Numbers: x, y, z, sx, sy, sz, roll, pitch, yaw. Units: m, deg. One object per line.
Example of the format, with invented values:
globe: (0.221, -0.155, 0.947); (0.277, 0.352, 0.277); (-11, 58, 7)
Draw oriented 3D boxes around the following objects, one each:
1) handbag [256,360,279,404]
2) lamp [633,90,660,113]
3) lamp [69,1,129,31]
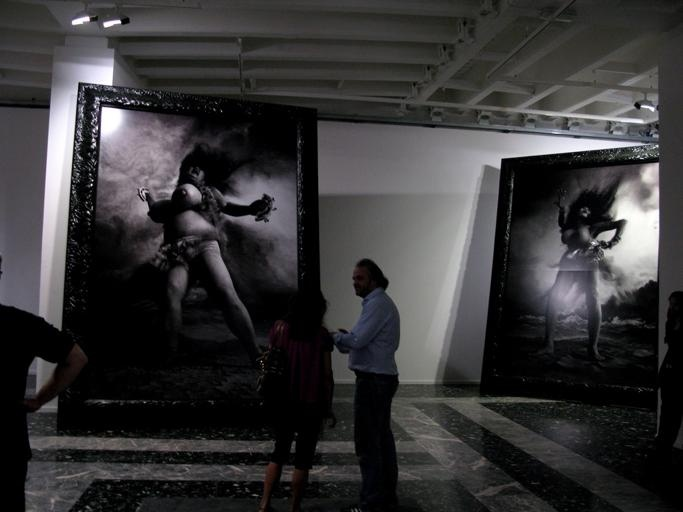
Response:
handbag: (-0.559, 0.929, 3.606); (0.222, 0.335, 0.205); (9, -22, -33)
lamp: (4.850, -2.465, 7.733); (0.245, 0.381, 0.867); (0, -3, 37)
lamp: (-2.927, -2.885, 5.870); (0.476, 0.228, 0.140); (-2, -15, -11)
